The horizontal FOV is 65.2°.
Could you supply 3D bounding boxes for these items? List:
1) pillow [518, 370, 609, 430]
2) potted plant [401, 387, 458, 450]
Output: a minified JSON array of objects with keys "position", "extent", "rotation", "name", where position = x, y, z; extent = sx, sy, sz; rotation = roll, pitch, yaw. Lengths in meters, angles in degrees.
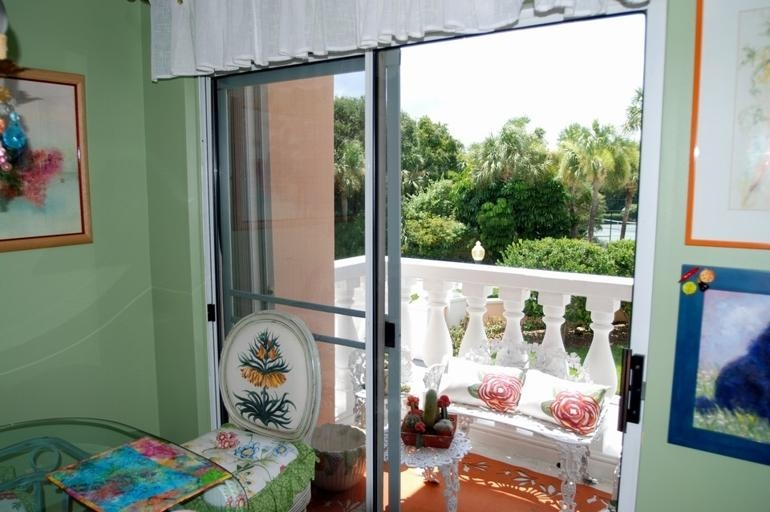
[{"position":[0.937,0.776,3.220],"extent":[0.427,0.210,0.231],"rotation":[8,12,33],"name":"pillow"},{"position":[0.227,0.805,3.205],"extent":[0.354,0.336,0.266],"rotation":[0,-4,5],"name":"potted plant"}]
